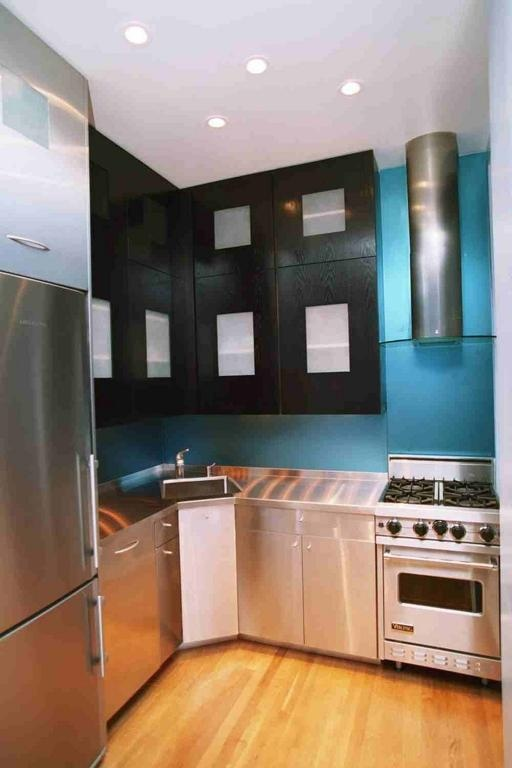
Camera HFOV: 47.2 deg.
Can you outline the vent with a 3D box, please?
[{"bbox_3d":[0.905,-0.691,2.997,0.547,0.908,0.181,0,5,17],"label":"vent"}]
